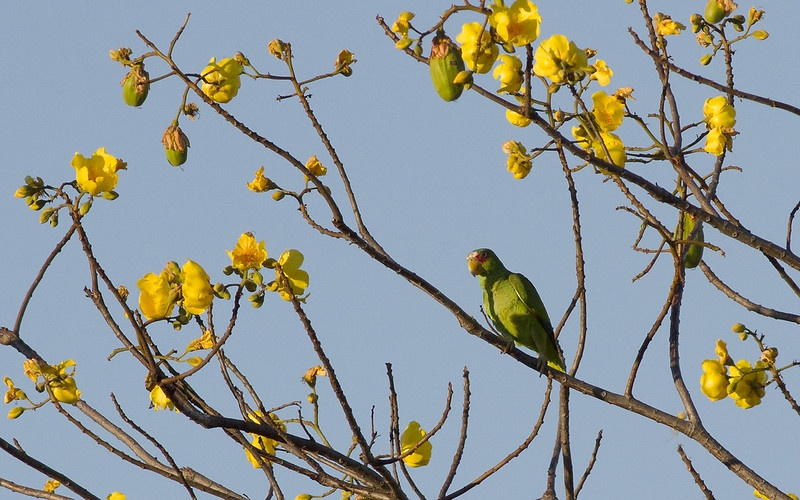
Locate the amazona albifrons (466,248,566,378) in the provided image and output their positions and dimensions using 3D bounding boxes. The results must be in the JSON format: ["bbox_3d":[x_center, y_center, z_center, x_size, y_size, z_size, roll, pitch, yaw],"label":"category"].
[{"bbox_3d":[1.020,0.545,14.213,0.524,1.251,1.116,-21,-11,37],"label":"amazona albifrons"}]
